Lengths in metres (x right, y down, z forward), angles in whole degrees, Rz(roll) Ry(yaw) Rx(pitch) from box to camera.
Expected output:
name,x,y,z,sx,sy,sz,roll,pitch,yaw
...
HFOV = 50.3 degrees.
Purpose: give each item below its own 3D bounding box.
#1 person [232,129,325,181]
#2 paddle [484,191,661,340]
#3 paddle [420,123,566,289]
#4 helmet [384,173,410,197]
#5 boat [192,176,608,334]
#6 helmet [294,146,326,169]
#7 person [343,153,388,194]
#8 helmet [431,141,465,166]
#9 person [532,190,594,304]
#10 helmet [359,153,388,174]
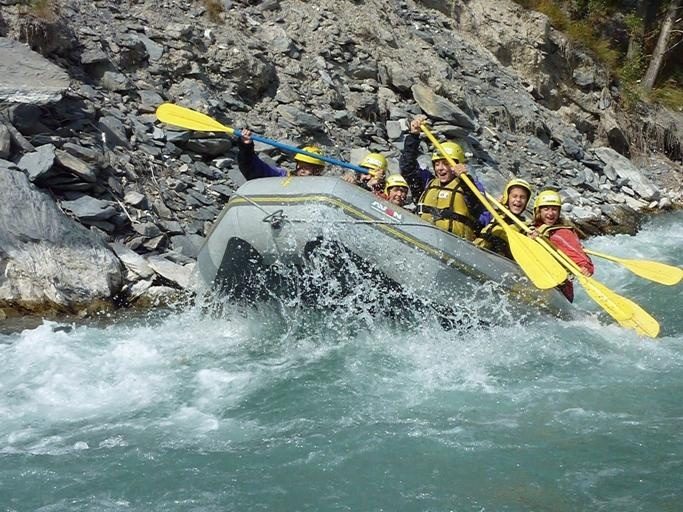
name,x,y,z,sx,sy,sz,roll,pitch,yaw
person,-0.783,-1.290,9.618,1.202,0.596,0.745,-4,32,-32
paddle,2.952,0.155,9.311,3.071,0.423,0.354,44,23,24
paddle,1.496,-0.776,8.646,3.089,0.536,0.223,52,9,31
helmet,0.682,-0.883,8.839,0.212,0.268,0.239,8,59,-9
boat,0.487,-0.044,7.987,2.974,0.673,1.711,25,-11,-20
helmet,-0.388,-1.333,9.095,0.304,0.216,0.423,10,-13,14
person,0.458,-1.059,9.377,0.427,0.384,0.746,29,0,31
helmet,1.313,-1.300,8.956,0.334,0.309,0.431,15,24,37
person,2.839,-0.090,9.280,0.623,1.086,1.537,-7,36,0
helmet,0.422,-1.202,9.219,0.318,0.166,0.226,19,10,-32
